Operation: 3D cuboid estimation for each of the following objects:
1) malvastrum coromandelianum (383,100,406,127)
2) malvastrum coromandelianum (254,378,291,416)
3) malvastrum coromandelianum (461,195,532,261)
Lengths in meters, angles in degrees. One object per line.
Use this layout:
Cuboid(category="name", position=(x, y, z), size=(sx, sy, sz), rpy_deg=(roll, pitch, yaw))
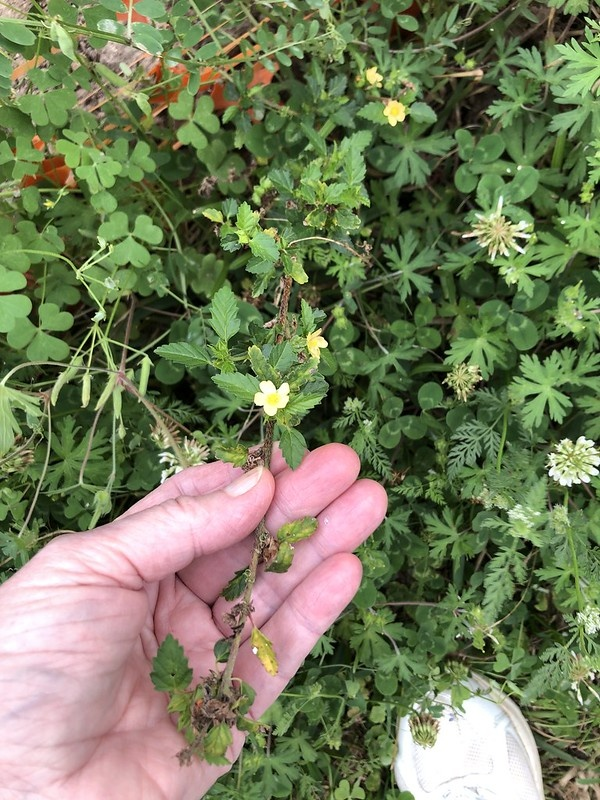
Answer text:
Cuboid(category="malvastrum coromandelianum", position=(0.371, -1.103, 2.483), size=(0.089, 0.100, 0.131), rpy_deg=(11, 38, 3))
Cuboid(category="malvastrum coromandelianum", position=(0.720, -0.624, 2.347), size=(0.207, 0.066, 0.226), rpy_deg=(1, 8, -26))
Cuboid(category="malvastrum coromandelianum", position=(0.712, -0.622, 2.384), size=(0.260, 0.238, 0.079), rpy_deg=(31, -3, 16))
